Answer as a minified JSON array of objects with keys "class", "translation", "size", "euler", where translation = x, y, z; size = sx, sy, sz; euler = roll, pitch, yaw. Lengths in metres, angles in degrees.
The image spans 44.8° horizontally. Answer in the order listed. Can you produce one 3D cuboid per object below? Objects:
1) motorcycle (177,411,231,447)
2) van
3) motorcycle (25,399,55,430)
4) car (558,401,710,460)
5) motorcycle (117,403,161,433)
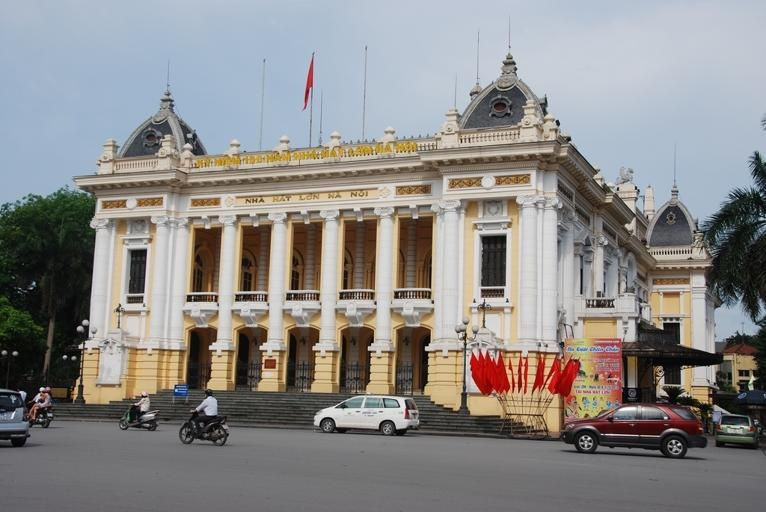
[{"class":"motorcycle","translation":[-6.646,6.354,34.370],"size":[1.752,1.191,1.316],"euler":[0,-12,0]},{"class":"van","translation":[-0.574,7.037,41.280],"size":[4.517,1.708,1.899],"euler":[-2,-6,20]},{"class":"motorcycle","translation":[-15.588,7.313,42.316],"size":[1.454,0.862,0.734],"euler":[-5,-17,32]},{"class":"car","translation":[9.436,6.592,35.582],"size":[4.847,1.701,2.166],"euler":[2,-12,7]},{"class":"motorcycle","translation":[-11.024,7.275,41.715],"size":[2.012,1.241,0.956],"euler":[0,-19,12]}]
